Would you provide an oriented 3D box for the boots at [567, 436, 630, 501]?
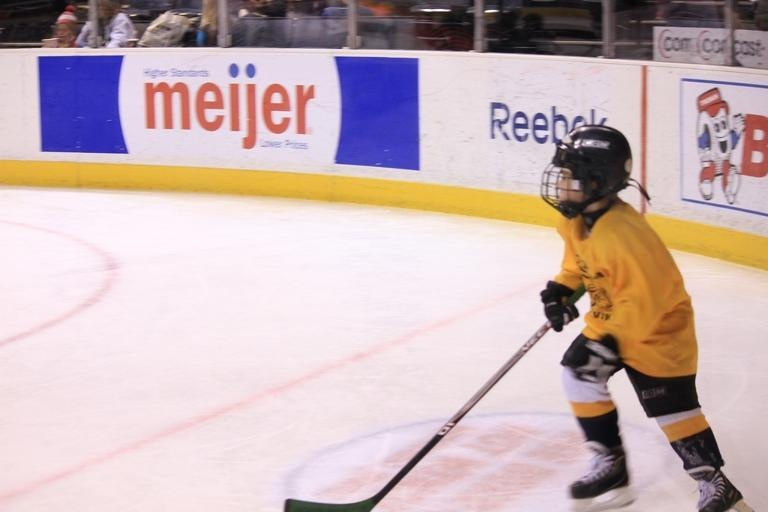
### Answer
[{"bbox_3d":[0.898,0.915,3.583,0.150,0.213,0.411,2,-2,40],"label":"boots"}]

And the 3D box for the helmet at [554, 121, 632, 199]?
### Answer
[{"bbox_3d":[0.958,-0.388,3.444,0.424,0.246,0.292,9,12,14],"label":"helmet"}]

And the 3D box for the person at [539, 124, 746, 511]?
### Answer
[{"bbox_3d":[1.030,0.266,3.458,0.478,1.586,0.845,-9,17,-30],"label":"person"}]
